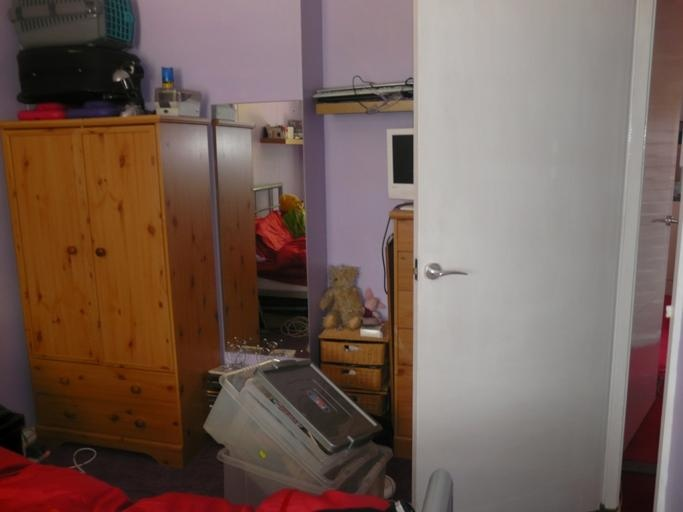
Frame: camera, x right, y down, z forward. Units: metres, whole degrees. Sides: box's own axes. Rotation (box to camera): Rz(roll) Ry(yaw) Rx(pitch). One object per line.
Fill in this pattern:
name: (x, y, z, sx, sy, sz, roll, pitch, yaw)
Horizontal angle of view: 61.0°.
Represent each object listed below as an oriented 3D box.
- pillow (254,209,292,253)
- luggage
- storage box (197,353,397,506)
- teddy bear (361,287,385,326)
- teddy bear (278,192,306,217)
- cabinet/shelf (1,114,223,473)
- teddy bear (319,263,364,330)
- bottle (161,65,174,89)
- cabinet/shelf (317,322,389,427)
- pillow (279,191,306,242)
pillow: (-0.427, -0.171, 3.796, 0.243, 0.259, 0.077, -19, 15, 33)
luggage: (-1.636, -1.110, 3.575, 0.754, 0.323, 0.229, -2, 13, -6)
storage box: (-0.203, 0.790, 3.083, 0.866, 0.986, 0.652, 12, 15, 32)
teddy bear: (0.200, 0.342, 3.830, 0.140, 0.204, 0.138, -9, 18, -23)
teddy bear: (-0.318, -0.325, 3.666, 0.132, 0.090, 0.116, 27, -3, -44)
cabinet/shelf: (-1.439, 0.201, 3.605, 1.164, 2.074, 0.570, 0, 12, 3)
teddy bear: (0.027, 0.258, 3.874, 0.376, 0.553, 0.359, 0, 5, 6)
bottle: (-1.092, -1.119, 3.655, 0.072, 0.145, 0.393, -4, 14, -15)
cabinet/shelf: (0.115, 0.670, 3.764, 0.597, 0.647, 0.471, 1, 5, 18)
pillow: (-0.309, -0.250, 3.674, 0.171, 0.274, 0.075, -17, 5, 33)
